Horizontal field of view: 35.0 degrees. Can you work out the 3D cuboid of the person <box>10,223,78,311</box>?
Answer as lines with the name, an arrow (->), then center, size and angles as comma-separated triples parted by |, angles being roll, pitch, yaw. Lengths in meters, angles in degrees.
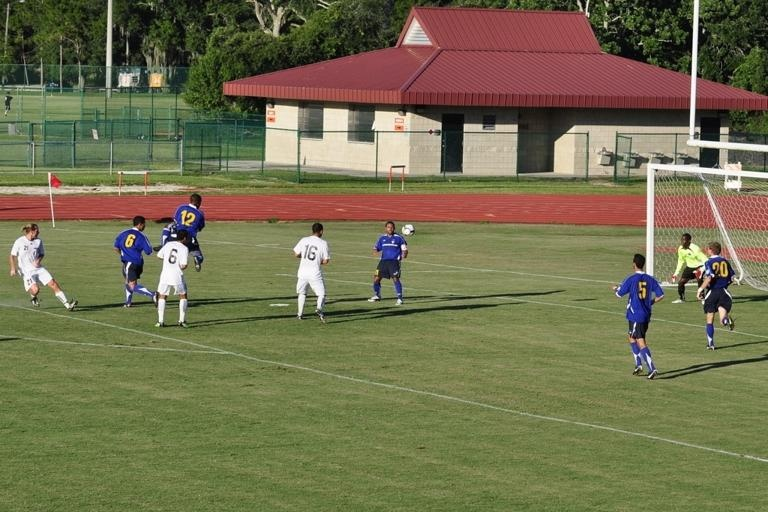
person -> -8.638, 0.274, 30.554 | 1.662, 2.141, 0.876 | 7, 11, 29

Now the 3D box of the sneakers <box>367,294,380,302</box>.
sneakers -> -0.273, 1.150, 32.690 | 0.348, 0.145, 0.139 | 3, 5, 39

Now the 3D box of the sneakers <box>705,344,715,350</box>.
sneakers -> 7.790, 2.188, 29.138 | 0.163, 0.101, 0.249 | 1, -1, 0

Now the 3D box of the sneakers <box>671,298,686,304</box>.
sneakers -> 8.132, 1.252, 33.720 | 0.350, 0.120, 0.138 | 0, -1, -6

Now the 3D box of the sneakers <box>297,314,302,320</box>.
sneakers -> -2.093, 1.521, 30.456 | 0.103, 0.146, 0.155 | 1, 16, -22

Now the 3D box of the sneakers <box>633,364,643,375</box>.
sneakers -> 5.651, 2.551, 27.181 | 0.128, 0.130, 0.325 | 1, 4, 2

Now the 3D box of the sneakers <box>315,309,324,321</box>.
sneakers -> -1.615, 1.437, 30.305 | 0.195, 0.136, 0.373 | -31, 40, 8

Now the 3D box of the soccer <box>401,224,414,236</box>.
soccer -> 0.587, -0.710, 32.533 | 0.343, 0.303, 0.326 | 3, -13, 17

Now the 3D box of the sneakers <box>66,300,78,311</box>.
sneakers -> -7.801, 1.242, 30.384 | 0.177, 0.179, 0.393 | -32, 20, -19

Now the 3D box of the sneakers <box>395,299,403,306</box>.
sneakers -> 0.391, 1.236, 32.298 | 0.165, 0.181, 0.457 | 1, -2, 2
